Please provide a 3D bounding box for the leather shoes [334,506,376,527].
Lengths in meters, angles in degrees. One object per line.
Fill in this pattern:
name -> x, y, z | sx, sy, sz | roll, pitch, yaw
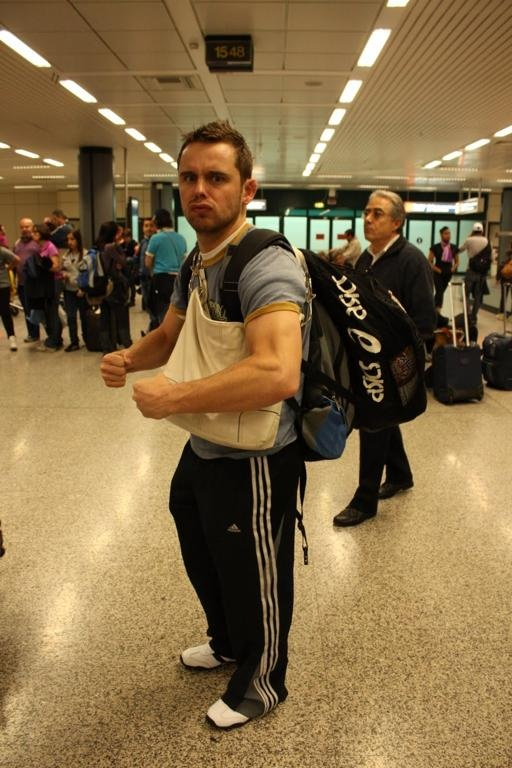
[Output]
leather shoes -> 0.508, 0.670, 2.863 | 0.237, 0.102, 0.091 | -7, -5, -28

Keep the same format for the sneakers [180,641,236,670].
sneakers -> -0.161, 0.860, 1.753 | 0.195, 0.082, 0.069 | 7, 14, -4

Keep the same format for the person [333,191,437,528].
person -> 0.671, -0.122, 3.182 | 0.665, 1.902, 0.618 | 5, 26, 20

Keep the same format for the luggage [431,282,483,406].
luggage -> 1.995, -0.435, 5.343 | 0.454, 1.315, 0.345 | -6, -2, 30

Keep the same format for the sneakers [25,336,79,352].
sneakers -> -3.138, -0.613, 8.319 | 0.624, 0.281, 0.202 | -4, 14, -5

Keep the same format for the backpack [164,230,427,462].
backpack -> 0.123, -0.108, 1.454 | 0.737, 0.617, 0.476 | -6, 16, -30

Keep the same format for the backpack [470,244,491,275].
backpack -> 4.482, -2.531, 10.905 | 0.349, 0.507, 0.291 | 31, 36, 31
